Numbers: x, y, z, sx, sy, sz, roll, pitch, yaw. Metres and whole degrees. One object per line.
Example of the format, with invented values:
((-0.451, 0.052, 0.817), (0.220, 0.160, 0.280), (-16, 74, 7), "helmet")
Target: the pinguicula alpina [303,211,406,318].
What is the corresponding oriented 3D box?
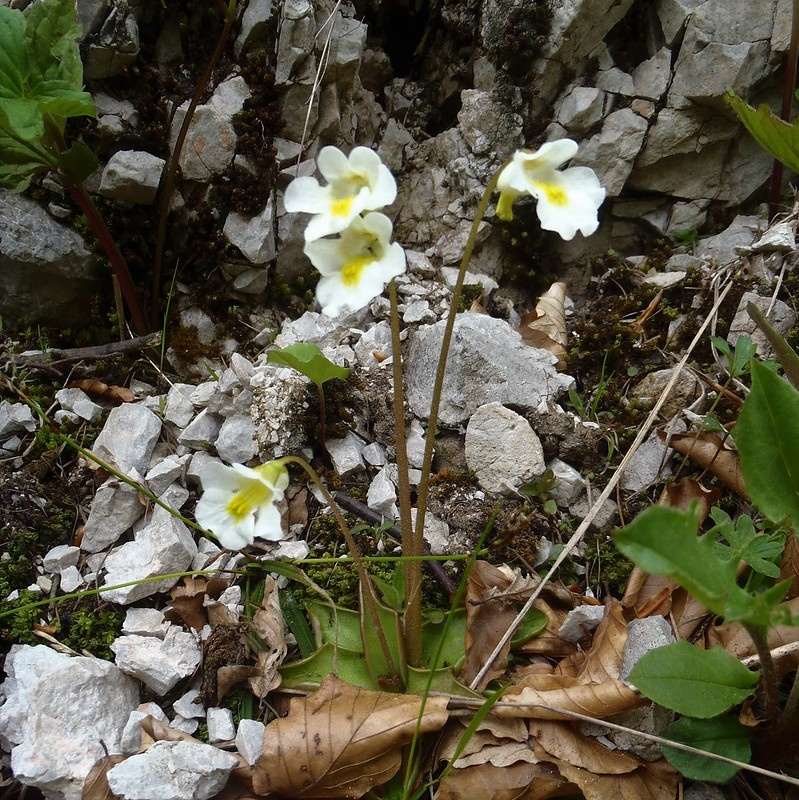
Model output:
((-0.122, -0.438, 2.169), (0.110, 0.231, 0.244), (-12, 64, 34), "pinguicula alpina")
